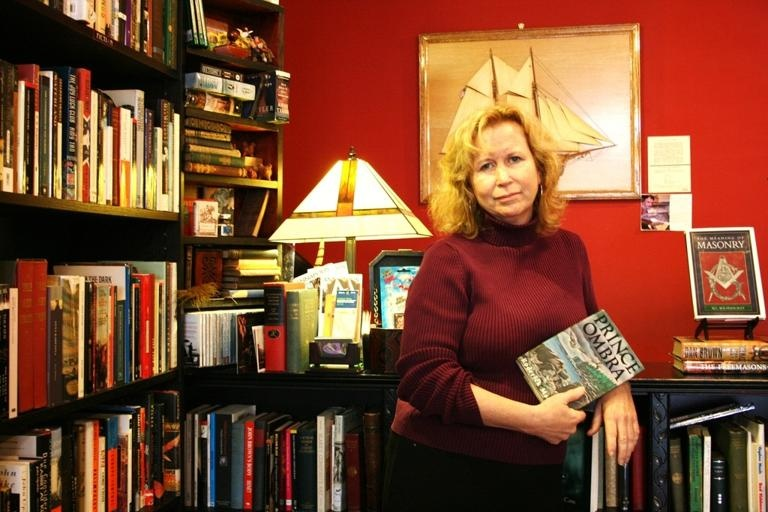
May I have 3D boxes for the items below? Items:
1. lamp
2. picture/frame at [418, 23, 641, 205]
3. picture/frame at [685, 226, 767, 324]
[{"bbox_3d":[-0.156,-0.179,3.285,0.481,0.587,0.504,-2,-5,2],"label":"lamp"},{"bbox_3d":[0.781,-0.718,3.656,1.062,0.809,0.041,-1,-4,3],"label":"picture/frame"},{"bbox_3d":[1.558,0.080,3.443,0.309,0.424,0.165,1,-2,-8],"label":"picture/frame"}]
